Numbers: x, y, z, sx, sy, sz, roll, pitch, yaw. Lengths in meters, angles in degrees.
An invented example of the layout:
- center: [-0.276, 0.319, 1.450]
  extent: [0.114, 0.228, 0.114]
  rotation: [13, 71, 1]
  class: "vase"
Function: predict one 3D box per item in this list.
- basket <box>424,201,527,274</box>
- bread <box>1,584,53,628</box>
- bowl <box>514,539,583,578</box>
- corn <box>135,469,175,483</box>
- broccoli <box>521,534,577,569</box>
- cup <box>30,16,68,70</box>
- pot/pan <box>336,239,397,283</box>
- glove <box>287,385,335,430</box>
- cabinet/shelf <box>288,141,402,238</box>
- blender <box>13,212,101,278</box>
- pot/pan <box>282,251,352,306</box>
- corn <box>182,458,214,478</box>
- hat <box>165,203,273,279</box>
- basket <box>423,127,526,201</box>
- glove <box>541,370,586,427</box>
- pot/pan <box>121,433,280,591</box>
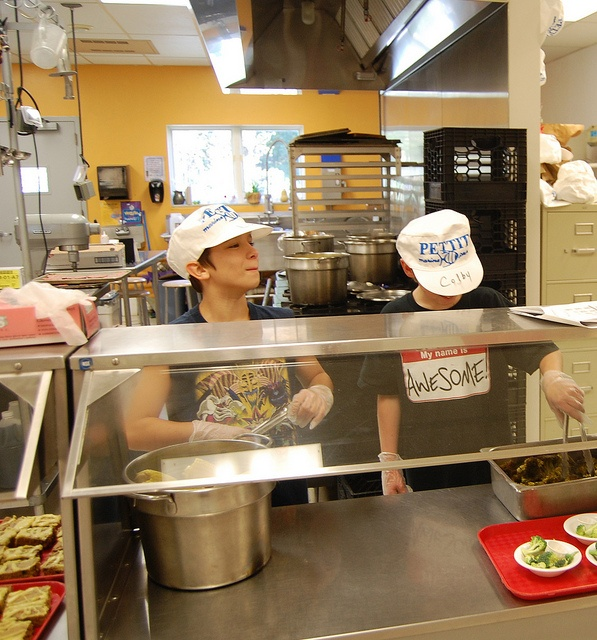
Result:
- center: [0.725, -0.347, 2.419]
  extent: [0.379, 0.253, 0.331]
  rotation: [-1, 7, -4]
  class: "basket"
- center: [-0.463, 0.481, 0.956]
  extent: [0.047, 0.012, 0.055]
  rotation: [-1, 11, -3]
  class: "bread"
- center: [0.414, 0.389, 0.937]
  extent: [0.113, 0.039, 0.076]
  rotation: [-5, 8, -18]
  class: "bowl"
- center: [-0.231, 0.243, 0.886]
  extent: [0.040, 0.008, 0.026]
  rotation: [8, 3, -23]
  class: "corn"
- center: [0.408, 0.377, 0.934]
  extent: [0.051, 0.011, 0.049]
  rotation: [3, 9, 30]
  class: "broccoli"
- center: [-1.244, -1.397, 2.899]
  extent: [0.233, 0.234, 0.228]
  rotation: [6, 40, -5]
  class: "cup"
- center: [0.376, -0.297, 2.908]
  extent: [0.327, 0.163, 0.233]
  rotation: [-1, 8, 0]
  class: "pot/pan"
- center: [0.019, 0.143, 0.956]
  extent: [0.085, 0.060, 0.027]
  rotation: [-39, 10, -3]
  class: "glove"
- center: [0.321, -0.884, 3.912]
  extent: [0.713, 0.546, 0.472]
  rotation: [0, 20, 3]
  class: "cabinet/shelf"
- center: [-1.645, -0.538, 4.000]
  extent: [0.522, 0.428, 0.361]
  rotation: [-10, 11, -40]
  class: "blender"
- center: [0.090, -0.188, 2.570]
  extent: [0.315, 0.192, 0.319]
  rotation: [-1, 6, -6]
  class: "pot/pan"
- center: [-0.160, 0.226, 0.870]
  extent: [0.033, 0.006, 0.028]
  rotation: [-4, 28, 3]
  class: "corn"
- center: [-0.210, -0.254, 1.535]
  extent: [0.261, 0.127, 0.201]
  rotation: [-20, 14, 47]
  class: "hat"
- center: [0.752, -0.679, 2.428]
  extent: [0.484, 0.259, 0.441]
  rotation: [6, 23, 15]
  class: "basket"
- center: [0.470, 0.133, 1.003]
  extent: [0.078, 0.099, 0.031]
  rotation: [-41, 9, -11]
  class: "glove"
- center: [-0.115, 0.291, 0.947]
  extent: [0.283, 0.152, 0.269]
  rotation: [-1, 7, 3]
  class: "pot/pan"
